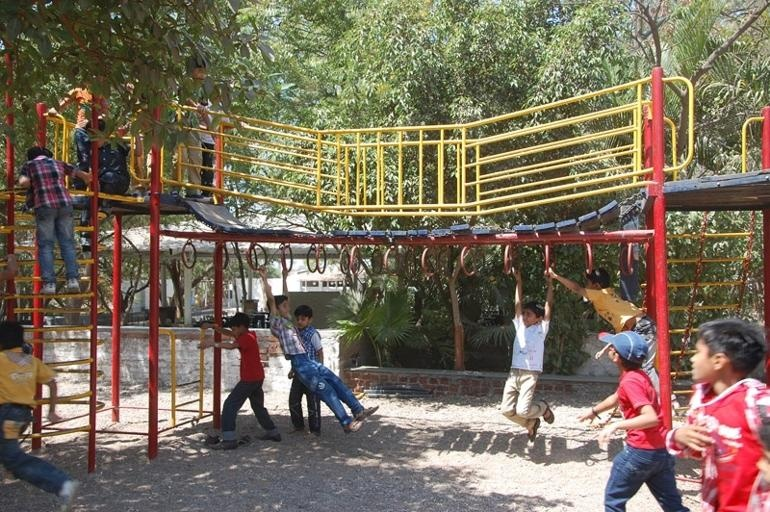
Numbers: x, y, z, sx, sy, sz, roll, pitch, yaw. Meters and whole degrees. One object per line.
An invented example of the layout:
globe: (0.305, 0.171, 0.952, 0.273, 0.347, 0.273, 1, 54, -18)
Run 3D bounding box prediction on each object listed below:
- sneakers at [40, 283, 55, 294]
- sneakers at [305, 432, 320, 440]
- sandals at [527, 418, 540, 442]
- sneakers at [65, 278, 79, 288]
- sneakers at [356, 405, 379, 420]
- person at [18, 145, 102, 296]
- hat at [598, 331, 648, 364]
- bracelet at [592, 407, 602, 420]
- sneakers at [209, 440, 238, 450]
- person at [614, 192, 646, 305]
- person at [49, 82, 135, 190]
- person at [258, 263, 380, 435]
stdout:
sneakers: (-4.551, 0.433, 11.171, 0.191, 0.154, 0.207, -1, -3, -19)
sneakers: (-1.188, 2.874, 13.272, 0.142, 0.059, 0.124, 3, 2, 36)
sandals: (2.306, 2.698, 12.857, 0.176, 0.426, 0.150, 10, 28, 6)
sneakers: (-4.295, 0.375, 11.346, 0.126, 0.131, 0.129, -3, -8, 4)
sneakers: (-0.253, 2.387, 12.639, 0.290, 0.202, 0.539, -2, -3, 12)
person: (-4.592, -0.535, 11.467, 0.899, 2.110, 0.708, -1, -2, -20)
hat: (2.767, 1.056, 9.673, 0.511, 0.270, 0.330, 34, 41, 32)
bracelet: (2.554, 1.918, 10.007, 0.065, 0.167, 0.119, 4, 3, -28)
sneakers: (-2.506, 2.891, 12.767, 0.439, 0.146, 0.255, -1, -3, -4)
person: (4.028, -0.039, 13.496, 0.399, 1.592, 3.827, -2, -3, 16)
person: (-4.403, -1.768, 12.524, 0.718, 0.665, 2.158, 2, -24, 3)
person: (-1.070, 1.522, 12.729, 1.541, 2.253, 0.439, -2, -2, 14)
